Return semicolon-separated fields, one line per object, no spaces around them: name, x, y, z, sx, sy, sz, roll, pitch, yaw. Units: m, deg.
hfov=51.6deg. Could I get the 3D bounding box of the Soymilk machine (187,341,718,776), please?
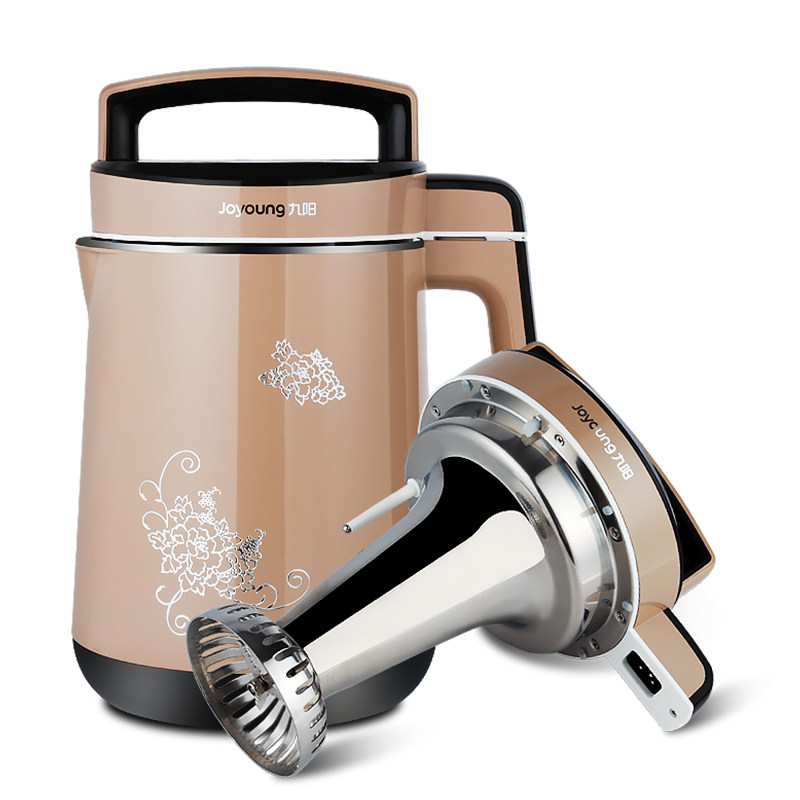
Soymilk machine;0.061;0.149;0.774;0.425;0.222;0.339;-27;74;-30
